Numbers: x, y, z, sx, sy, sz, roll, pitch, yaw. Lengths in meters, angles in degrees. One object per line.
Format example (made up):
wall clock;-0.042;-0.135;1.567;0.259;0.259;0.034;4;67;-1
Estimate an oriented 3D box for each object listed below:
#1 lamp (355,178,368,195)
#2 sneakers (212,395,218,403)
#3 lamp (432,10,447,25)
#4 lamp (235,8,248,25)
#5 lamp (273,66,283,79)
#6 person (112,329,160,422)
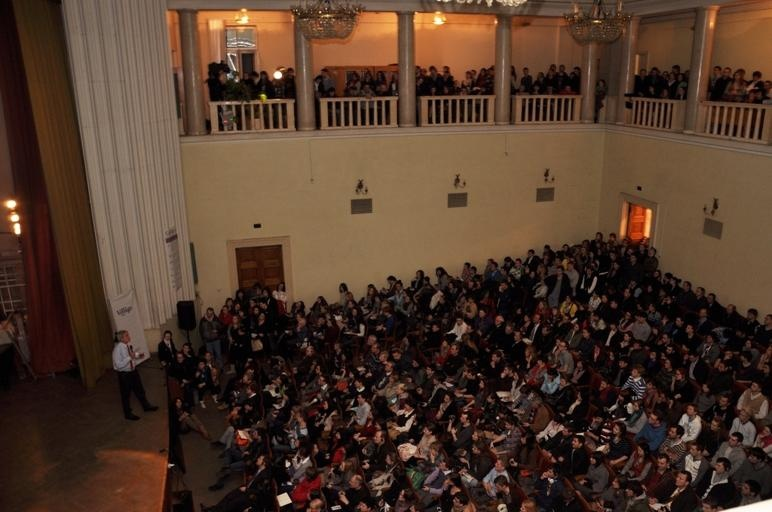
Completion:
lamp;-0.758;-2.136;17.254;0.332;0.464;0.133;-2;4;-9
sneakers;-4.438;3.735;14.621;0.080;0.168;0.241;-1;16;-33
lamp;1.860;-8.341;19.751;0.427;0.336;0.362;-2;13;4
lamp;-4.804;-7.956;18.734;0.462;0.357;0.364;-5;14;-9
lamp;-3.237;-5.514;16.997;0.288;0.379;0.824;-5;13;-9
person;-5.688;2.483;12.541;0.629;1.926;1.433;-10;15;-27
